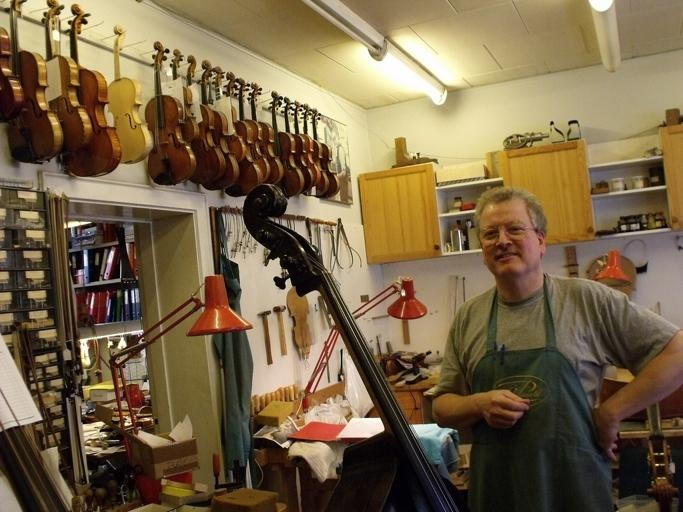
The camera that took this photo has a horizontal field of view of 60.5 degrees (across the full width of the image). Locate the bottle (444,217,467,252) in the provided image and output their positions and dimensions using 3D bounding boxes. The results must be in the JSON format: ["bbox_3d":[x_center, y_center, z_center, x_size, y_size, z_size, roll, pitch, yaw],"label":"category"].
[{"bbox_3d":[1.158,-0.218,5.994,0.247,0.542,0.286,1,-11,10],"label":"bottle"}]

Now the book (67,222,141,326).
[{"bbox_3d":[-2.199,0.168,5.489,0.888,1.122,0.326,-2,0,28],"label":"book"}]

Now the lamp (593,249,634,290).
[{"bbox_3d":[2.374,0.116,5.039,0.307,0.365,0.354,-1,-4,17],"label":"lamp"}]

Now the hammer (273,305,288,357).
[{"bbox_3d":[-0.478,0.602,4.712,0.168,0.343,0.070,-1,-5,-45],"label":"hammer"}]

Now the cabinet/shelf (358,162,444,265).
[{"bbox_3d":[0.630,-0.441,6.067,0.798,1.111,0.530,-7,-6,22],"label":"cabinet/shelf"}]

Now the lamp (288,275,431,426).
[{"bbox_3d":[0.058,0.808,4.605,1.178,1.485,0.398,-12,41,-11],"label":"lamp"}]

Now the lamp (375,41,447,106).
[{"bbox_3d":[0.651,-1.668,5.477,0.320,0.419,1.396,-5,3,24],"label":"lamp"}]

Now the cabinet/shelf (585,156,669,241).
[{"bbox_3d":[2.714,-0.543,5.475,0.633,0.711,0.227,-4,-11,16],"label":"cabinet/shelf"}]

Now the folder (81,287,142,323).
[{"bbox_3d":[-2.238,0.489,5.744,0.396,0.454,0.314,0,-2,-10],"label":"folder"}]

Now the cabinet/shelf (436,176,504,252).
[{"bbox_3d":[0.992,-0.341,4.626,0.596,0.639,0.221,-10,-11,34],"label":"cabinet/shelf"}]

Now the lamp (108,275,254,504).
[{"bbox_3d":[-0.972,0.736,3.534,0.776,1.218,1.623,-7,2,-23],"label":"lamp"}]

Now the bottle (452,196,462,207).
[{"bbox_3d":[1.217,-0.564,6.080,0.085,0.101,0.170,-1,-1,22],"label":"bottle"}]

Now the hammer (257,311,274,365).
[{"bbox_3d":[-0.589,0.633,4.544,0.168,0.353,0.056,-3,-1,-31],"label":"hammer"}]

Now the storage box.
[{"bbox_3d":[-1.026,1.127,3.365,0.294,0.208,0.294,9,-9,-40],"label":"storage box"}]

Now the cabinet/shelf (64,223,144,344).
[{"bbox_3d":[-2.112,0.252,5.281,1.005,1.268,0.372,-2,3,19],"label":"cabinet/shelf"}]
